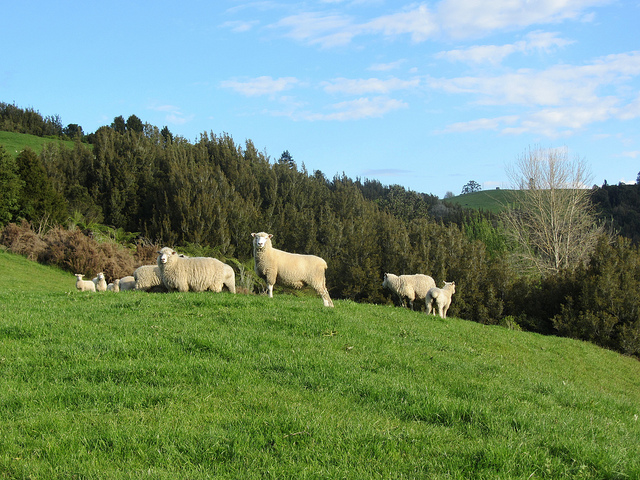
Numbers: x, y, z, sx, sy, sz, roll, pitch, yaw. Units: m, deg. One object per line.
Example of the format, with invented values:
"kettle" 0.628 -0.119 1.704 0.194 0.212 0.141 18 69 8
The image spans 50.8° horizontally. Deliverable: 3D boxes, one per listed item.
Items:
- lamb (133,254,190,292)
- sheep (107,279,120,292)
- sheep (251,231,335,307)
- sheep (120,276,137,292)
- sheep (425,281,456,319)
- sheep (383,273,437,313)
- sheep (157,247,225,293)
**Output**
"lamb" -6.290 1.517 26.832 2.311 1.916 1.176 -3 0 -8
"sheep" -9.162 2.023 30.000 0.425 0.472 1.316 10 3 -19
"sheep" -1.263 1.196 26.747 3.490 2.713 1.253 8 5 -16
"sheep" -8.002 1.920 28.033 0.580 0.369 0.679 1 26 26
"sheep" 5.642 2.798 31.811 1.102 1.698 2.644 11 2 12
"sheep" 4.666 2.935 34.502 2.894 2.509 1.271 5 -23 -7
"sheep" -4.958 1.442 26.303 2.979 2.157 1.255 11 -19 -22
